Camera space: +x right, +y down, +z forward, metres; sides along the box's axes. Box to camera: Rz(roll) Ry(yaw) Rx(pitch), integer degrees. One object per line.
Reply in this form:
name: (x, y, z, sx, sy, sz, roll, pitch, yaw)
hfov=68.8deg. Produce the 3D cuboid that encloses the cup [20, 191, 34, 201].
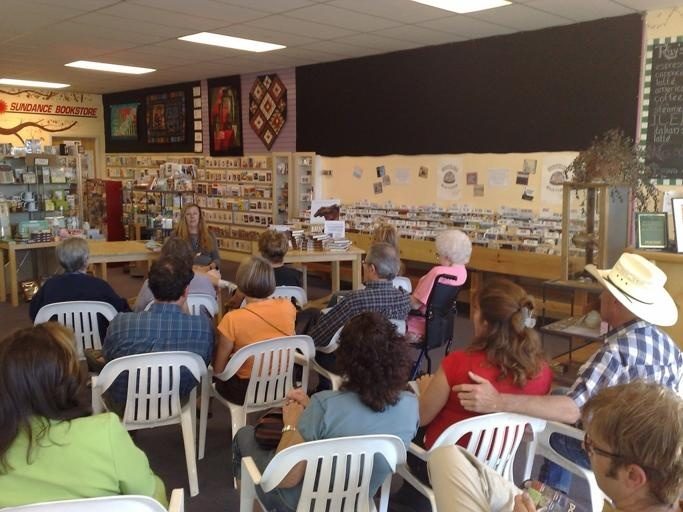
cup: (-4.854, -0.928, 7.707, 0.161, 0.154, 0.095, -7, 14, -38)

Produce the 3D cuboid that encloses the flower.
flower: (2.626, -0.829, 4.745, 0.726, 0.554, 0.618, 24, 17, -4)

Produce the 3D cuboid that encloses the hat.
hat: (1.426, 0.152, 2.397, 0.323, 0.294, 0.271, 5, 8, 36)

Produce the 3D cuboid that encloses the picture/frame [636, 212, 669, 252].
picture/frame: (2.494, -0.189, 3.990, 0.266, 0.354, 0.038, 2, 0, 11)

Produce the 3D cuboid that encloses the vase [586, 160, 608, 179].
vase: (2.189, -0.732, 4.274, 0.125, 0.180, 0.159, 4, 6, 36)
